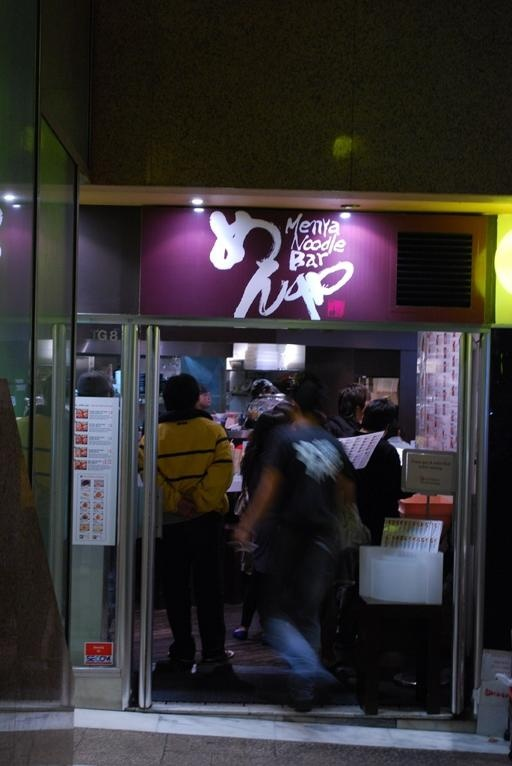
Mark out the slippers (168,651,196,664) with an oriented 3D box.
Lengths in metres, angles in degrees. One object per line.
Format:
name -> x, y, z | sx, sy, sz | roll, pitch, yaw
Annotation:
slippers -> -0.354, 1.296, 3.277 | 0.125, 0.107, 0.008 | 3, 0, 0

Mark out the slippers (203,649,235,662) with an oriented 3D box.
slippers -> -0.172, 1.288, 3.264 | 0.140, 0.064, 0.053 | -4, -1, -7

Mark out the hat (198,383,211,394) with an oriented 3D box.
hat -> -0.247, 0.025, 3.271 | 0.032, 0.047, 0.044 | -7, -7, 4

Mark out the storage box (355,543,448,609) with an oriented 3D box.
storage box -> 0.683, 0.867, 3.382 | 0.388, 0.280, 0.213 | 0, 23, 1

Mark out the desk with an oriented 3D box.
desk -> 0.697, 1.324, 3.586 | 0.461, 0.713, 0.482 | 0, -2, 0
